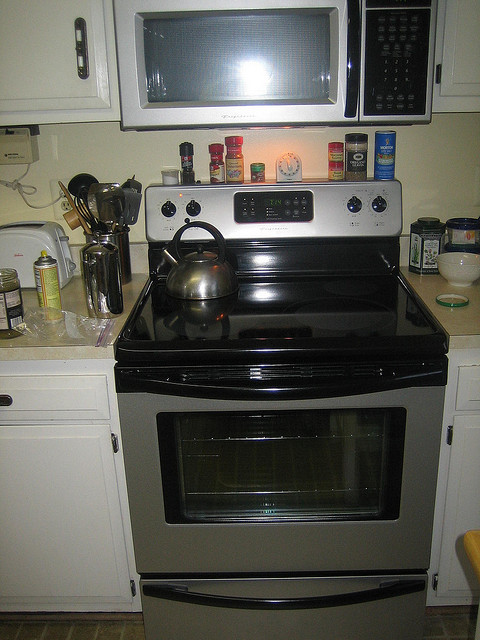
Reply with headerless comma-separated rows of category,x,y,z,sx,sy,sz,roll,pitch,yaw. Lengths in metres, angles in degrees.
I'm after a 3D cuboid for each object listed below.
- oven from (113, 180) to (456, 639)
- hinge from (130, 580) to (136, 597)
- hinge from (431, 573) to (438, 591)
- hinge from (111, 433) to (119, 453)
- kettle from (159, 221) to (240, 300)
oven,0.112,0.233,1.408,0.775,1.111,0.561,-2,19,0
hinge,-0.295,0.737,1.440,0.012,0.068,0.011,-3,18,-3
hinge,0.534,0.712,1.425,0.016,0.059,0.009,6,20,22
hinge,-0.304,0.297,1.265,0.020,0.039,0.009,-2,11,1
kettle,-0.109,-0.164,1.387,0.195,0.191,0.203,-2,13,-4
